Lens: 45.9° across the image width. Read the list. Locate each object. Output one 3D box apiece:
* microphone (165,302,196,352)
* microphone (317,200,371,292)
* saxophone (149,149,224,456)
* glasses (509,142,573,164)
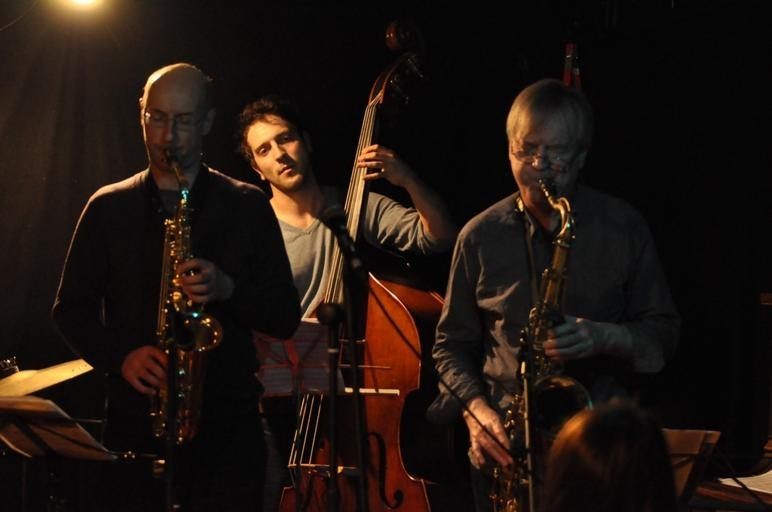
[{"bbox_3d":[-0.964,0.316,4.291,0.143,0.243,0.219,6,-18,-13],"label":"microphone"},{"bbox_3d":[-0.197,-0.074,4.061,0.124,0.224,0.432,-7,20,-11],"label":"microphone"},{"bbox_3d":[-0.960,0.217,4.405,0.364,1.375,0.362,2,-2,-22],"label":"saxophone"},{"bbox_3d":[0.775,-0.512,4.525,0.297,0.102,0.059,-1,-17,9],"label":"glasses"}]
